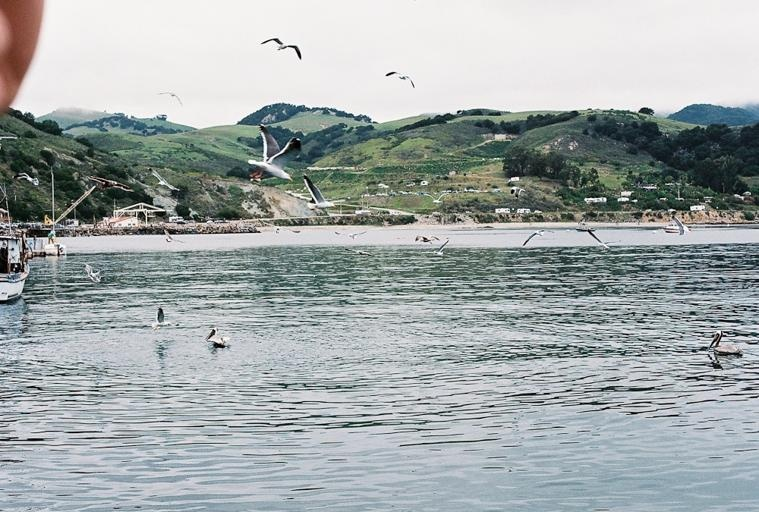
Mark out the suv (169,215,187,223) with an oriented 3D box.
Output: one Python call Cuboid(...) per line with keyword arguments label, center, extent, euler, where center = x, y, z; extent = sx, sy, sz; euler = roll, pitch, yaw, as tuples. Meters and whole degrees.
Cuboid(label="suv", center=(-43.354, -8.146, 259.869), extent=(3.784, 0.872, 2.416), euler=(-1, 0, 12))
